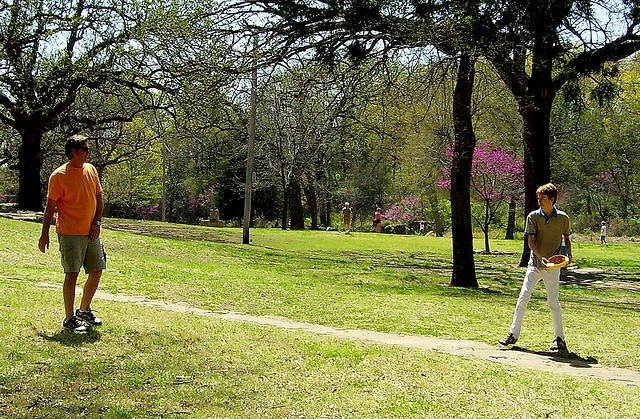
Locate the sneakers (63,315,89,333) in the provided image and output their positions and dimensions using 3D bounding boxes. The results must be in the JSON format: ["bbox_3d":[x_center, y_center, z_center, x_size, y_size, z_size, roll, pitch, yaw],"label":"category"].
[{"bbox_3d":[-4.153,1.949,9.789,0.433,0.267,0.196,2,-1,-6],"label":"sneakers"}]

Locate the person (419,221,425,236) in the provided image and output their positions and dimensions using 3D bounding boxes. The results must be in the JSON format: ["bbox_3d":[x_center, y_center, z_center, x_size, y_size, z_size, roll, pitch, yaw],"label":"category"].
[{"bbox_3d":[8.585,1.532,48.508,0.426,1.009,1.586,2,-1,9],"label":"person"}]

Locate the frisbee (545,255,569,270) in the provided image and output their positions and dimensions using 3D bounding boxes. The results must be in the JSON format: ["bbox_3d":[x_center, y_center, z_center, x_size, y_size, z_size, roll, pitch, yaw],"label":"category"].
[{"bbox_3d":[4.537,1.012,11.044,0.319,0.123,0.296,-9,29,13],"label":"frisbee"}]

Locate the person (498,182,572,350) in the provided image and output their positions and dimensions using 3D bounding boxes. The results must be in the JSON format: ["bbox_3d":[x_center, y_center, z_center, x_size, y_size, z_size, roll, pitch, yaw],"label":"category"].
[{"bbox_3d":[4.397,1.078,11.431,1.117,3.273,1.145,1,-2,39],"label":"person"}]

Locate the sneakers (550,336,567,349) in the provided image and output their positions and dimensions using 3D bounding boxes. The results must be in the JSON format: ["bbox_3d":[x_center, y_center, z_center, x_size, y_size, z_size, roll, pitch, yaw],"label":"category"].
[{"bbox_3d":[4.589,2.606,11.082,0.148,0.175,0.398,-1,-12,8],"label":"sneakers"}]
